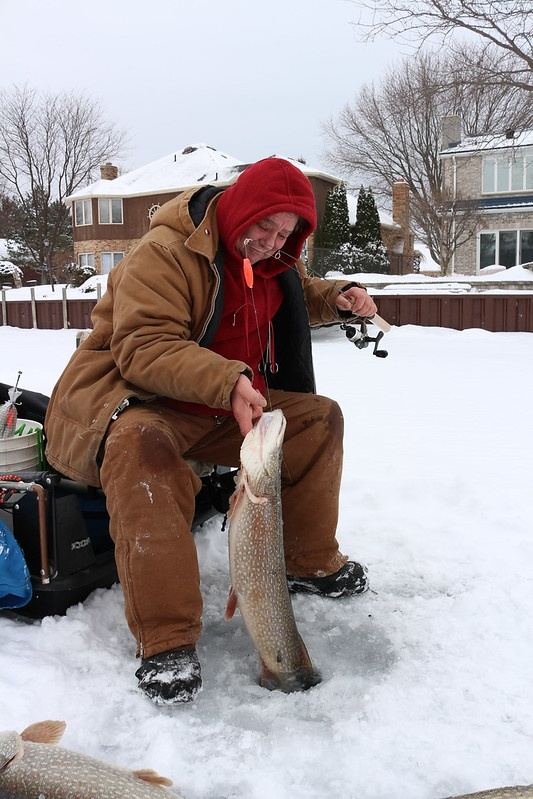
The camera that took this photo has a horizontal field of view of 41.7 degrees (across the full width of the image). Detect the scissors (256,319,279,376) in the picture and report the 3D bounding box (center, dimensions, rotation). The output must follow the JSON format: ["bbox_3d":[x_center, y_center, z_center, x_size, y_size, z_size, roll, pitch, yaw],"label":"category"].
[{"bbox_3d":[0.003,-0.227,2.874,0.114,0.262,0.110,-9,34,-15],"label":"scissors"}]

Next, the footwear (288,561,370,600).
[{"bbox_3d":[0.238,0.694,2.755,0.333,0.144,0.120,-9,9,1],"label":"footwear"}]

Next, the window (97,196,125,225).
[{"bbox_3d":[-6.973,-8.605,31.437,1.224,1.165,0.120,1,7,-2],"label":"window"}]

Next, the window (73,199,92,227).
[{"bbox_3d":[-8.455,-8.731,32.263,1.299,1.319,0.107,6,7,37],"label":"window"}]

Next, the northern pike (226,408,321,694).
[{"bbox_3d":[0.036,0.374,2.074,0.259,0.929,0.175,-6,-7,37],"label":"northern pike"}]

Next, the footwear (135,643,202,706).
[{"bbox_3d":[-0.278,0.794,1.997,0.169,0.121,0.118,-1,11,-14],"label":"footwear"}]

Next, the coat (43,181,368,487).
[{"bbox_3d":[-0.248,-0.249,2.503,1.065,0.890,0.800,5,10,28],"label":"coat"}]
